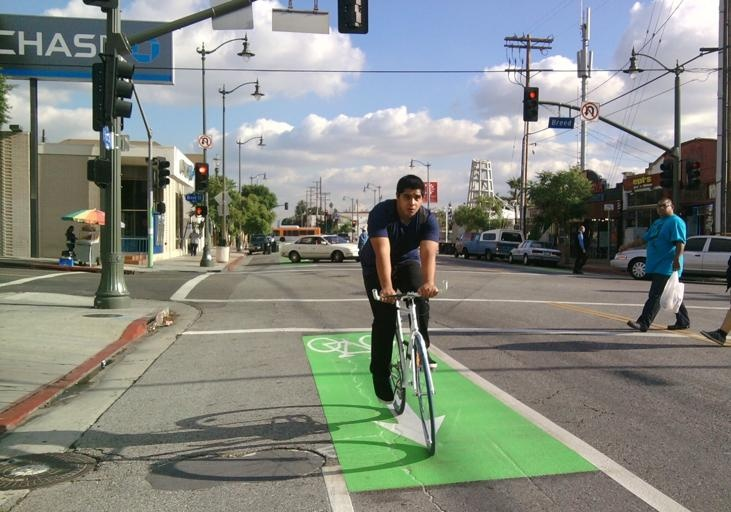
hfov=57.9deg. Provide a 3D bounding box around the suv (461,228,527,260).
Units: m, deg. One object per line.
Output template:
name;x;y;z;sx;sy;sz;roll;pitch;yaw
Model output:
suv;7.796;-0.692;39.845;1.616;1.253;3.447;-1;3;-17

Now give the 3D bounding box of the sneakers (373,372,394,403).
sneakers;0.207;1.484;7.427;0.134;0.436;0.284;-7;-8;-10

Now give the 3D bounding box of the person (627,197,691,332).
person;4.952;0.187;11.225;0.779;2.272;0.774;2;8;23

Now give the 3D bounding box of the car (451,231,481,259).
car;6.798;-0.761;43.957;1.210;1.305;2.273;0;4;-4

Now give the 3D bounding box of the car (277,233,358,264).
car;-2.278;-0.332;35.468;3.712;1.213;1.719;-3;-1;23

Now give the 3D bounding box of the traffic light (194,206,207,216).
traffic light;-7.144;-1.953;28.931;0.515;0.476;0.438;-4;8;-23

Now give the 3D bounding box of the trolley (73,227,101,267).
trolley;-11.549;-0.339;27.662;0.954;1.453;0.932;3;-1;-12

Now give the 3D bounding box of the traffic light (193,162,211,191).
traffic light;-6.824;-3.290;27.615;0.486;1.127;0.536;-3;8;-15

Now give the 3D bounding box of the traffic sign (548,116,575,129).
traffic sign;8.229;-5.548;27.567;1.064;0.411;0.232;-3;8;-15

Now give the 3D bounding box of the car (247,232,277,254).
car;-9.037;-1.017;58.180;1.620;1.164;2.350;0;8;5

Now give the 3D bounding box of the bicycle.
bicycle;0.505;1.147;6.863;0.396;1.544;1.296;-2;8;-8

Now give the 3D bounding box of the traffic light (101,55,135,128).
traffic light;-4.998;-3.335;13.442;0.574;1.491;0.912;-3;8;-14

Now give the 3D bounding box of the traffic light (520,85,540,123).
traffic light;6.175;-5.663;24.651;0.482;1.292;1.013;0;8;9

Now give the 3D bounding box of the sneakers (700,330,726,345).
sneakers;5.416;1.272;10.288;0.288;0.129;0.104;27;1;21
